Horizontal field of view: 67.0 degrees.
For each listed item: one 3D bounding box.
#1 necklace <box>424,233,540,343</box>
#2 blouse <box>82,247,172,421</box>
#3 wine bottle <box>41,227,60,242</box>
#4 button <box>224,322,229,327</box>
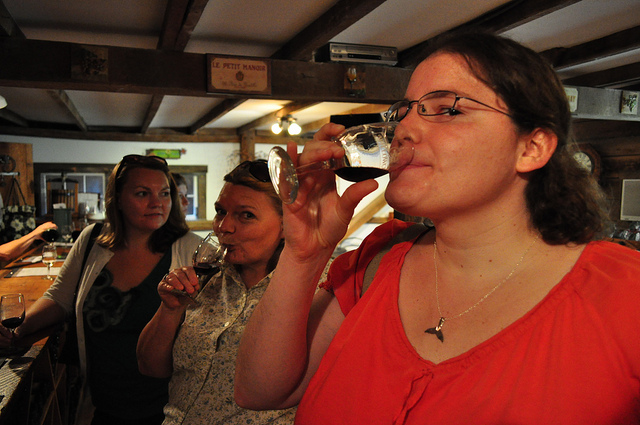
[{"bbox_3d":[0.589,0.346,1.909,0.305,0.365,0.026,31,4,42],"label":"necklace"},{"bbox_3d":[-1.299,0.859,3.221,0.558,0.965,0.440,0,6,-11],"label":"blouse"},{"bbox_3d":[-2.583,0.226,4.600,0.104,0.123,0.220,-1,7,-15],"label":"wine bottle"},{"bbox_3d":[-0.489,0.583,2.493,0.017,0.016,0.004,6,-36,41],"label":"button"}]
